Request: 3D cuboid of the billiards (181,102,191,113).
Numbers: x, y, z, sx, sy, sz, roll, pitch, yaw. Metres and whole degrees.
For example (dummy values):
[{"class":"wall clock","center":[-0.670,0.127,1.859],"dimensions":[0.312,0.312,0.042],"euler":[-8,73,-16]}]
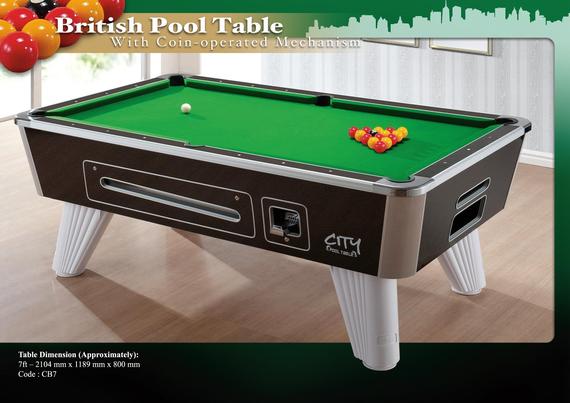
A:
[{"class":"billiards","center":[-0.506,-0.491,2.437],"dimensions":[0.067,0.049,0.057],"euler":[1,6,12]}]
